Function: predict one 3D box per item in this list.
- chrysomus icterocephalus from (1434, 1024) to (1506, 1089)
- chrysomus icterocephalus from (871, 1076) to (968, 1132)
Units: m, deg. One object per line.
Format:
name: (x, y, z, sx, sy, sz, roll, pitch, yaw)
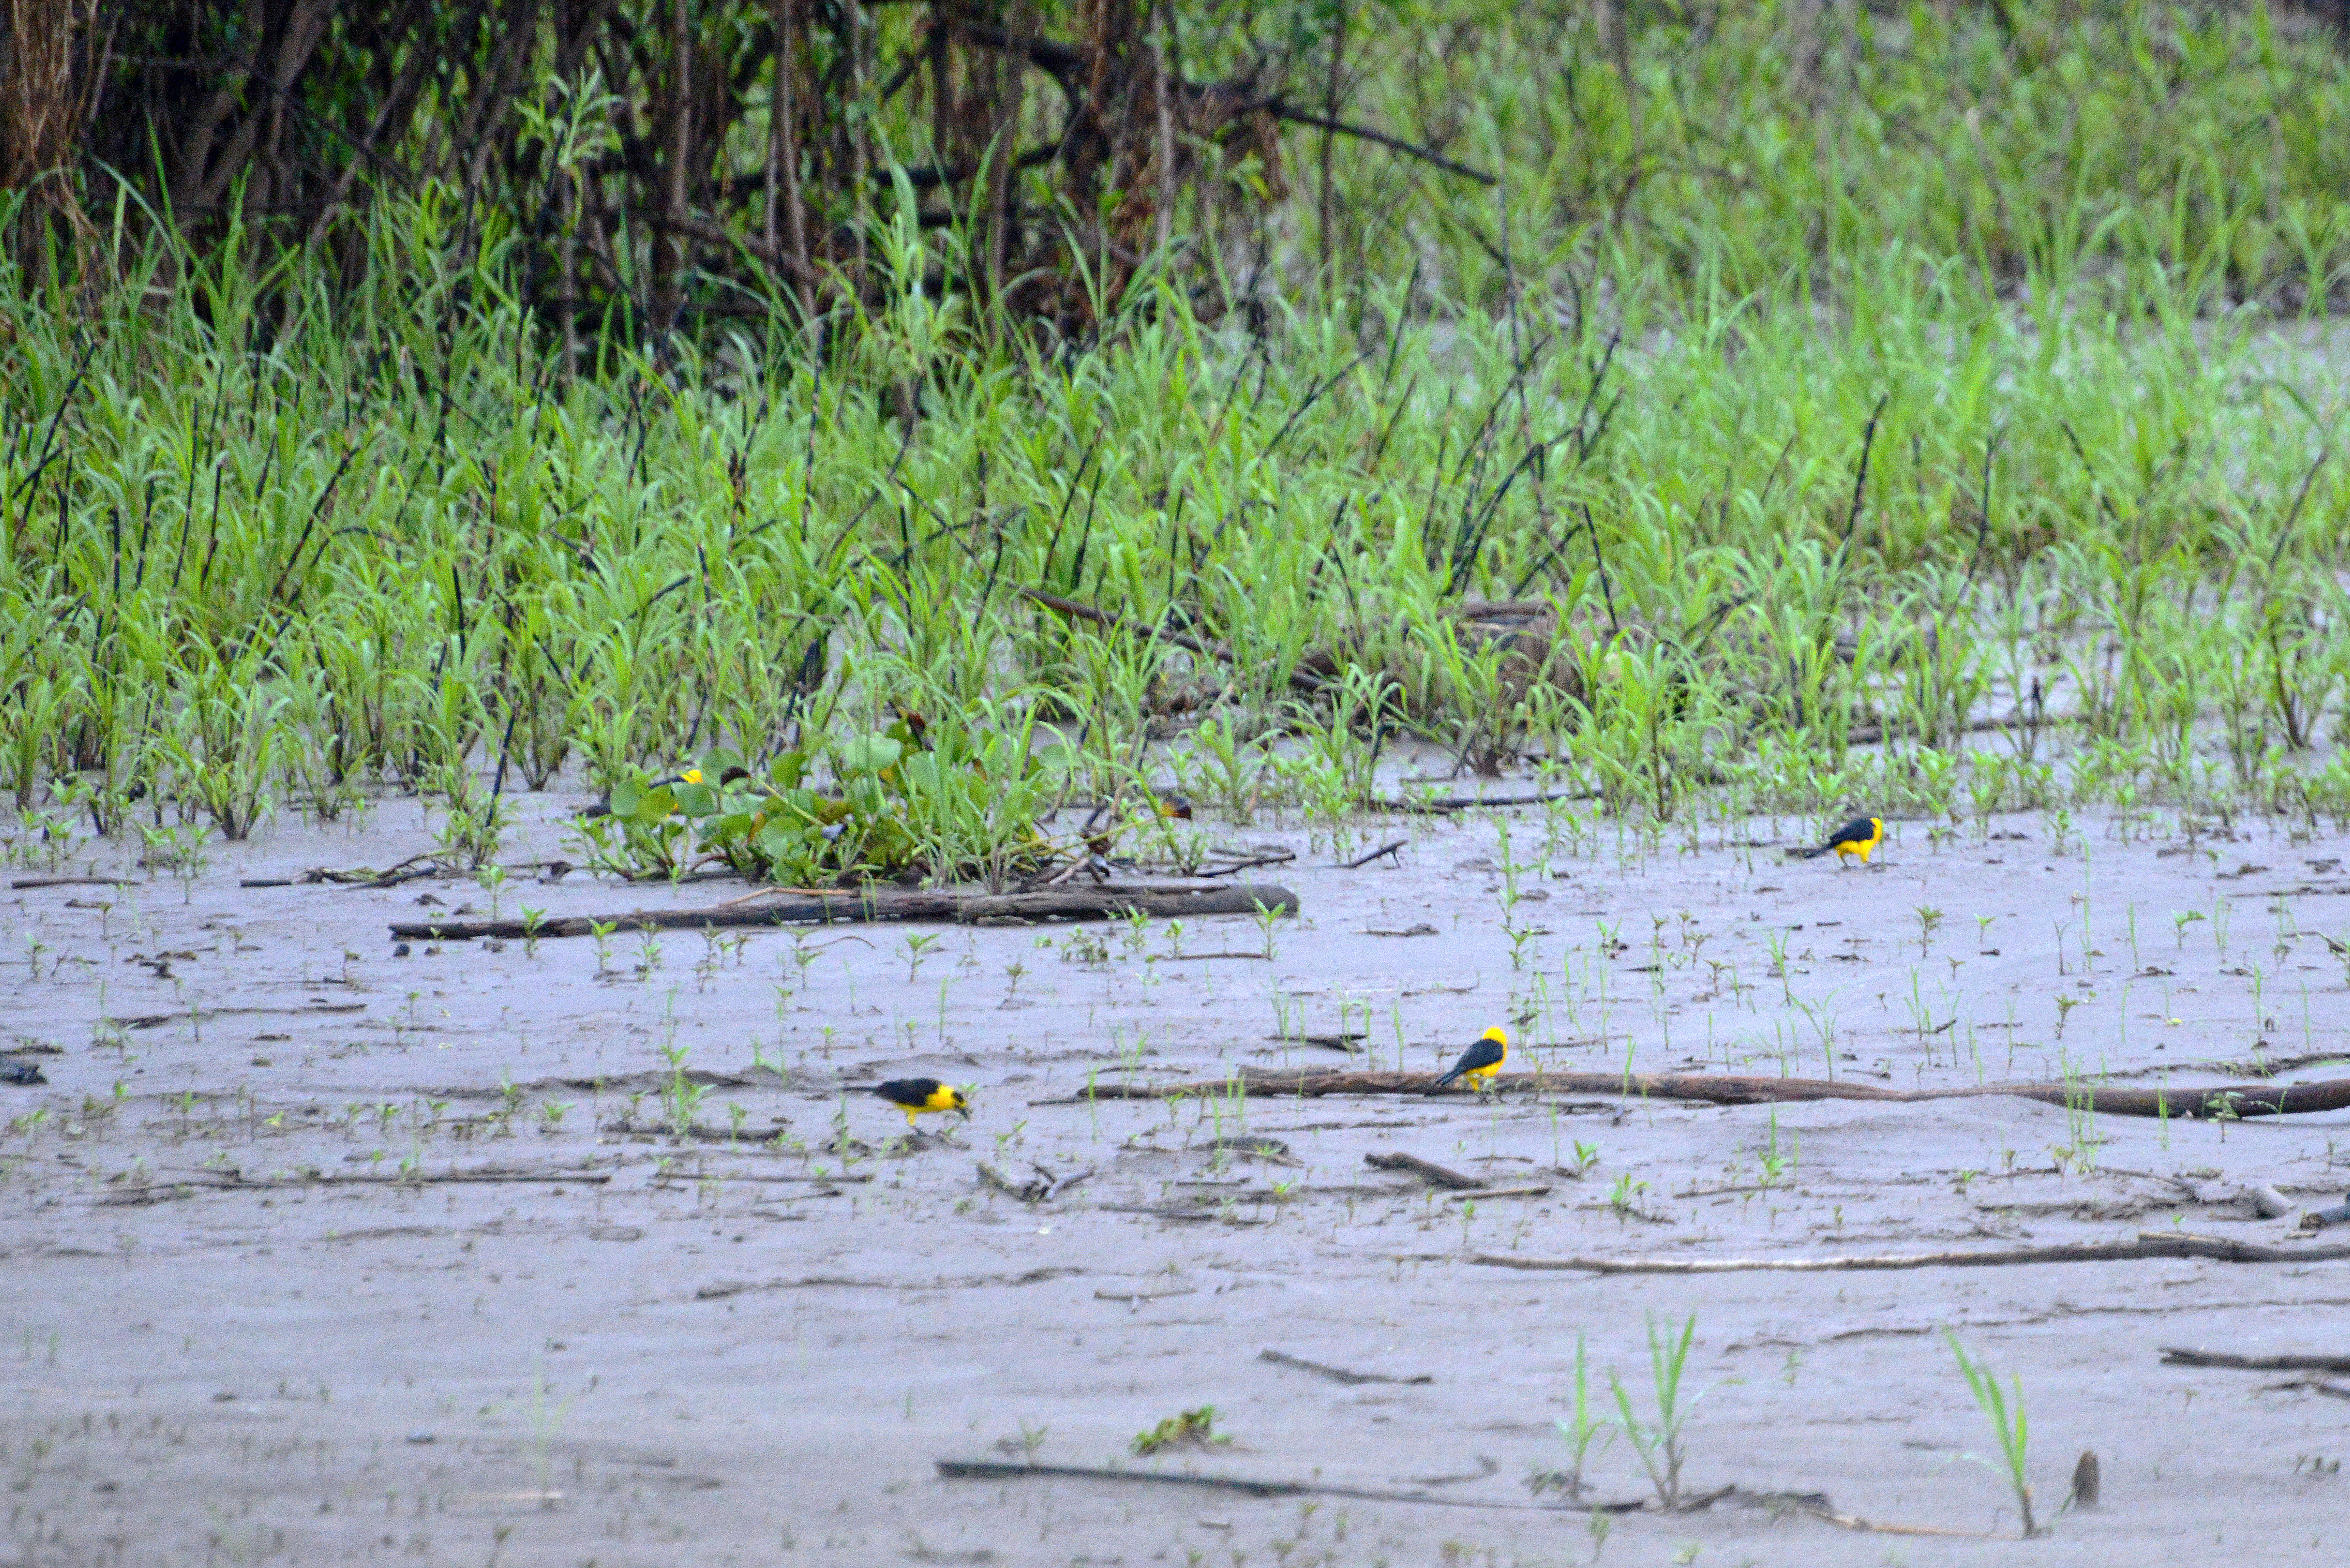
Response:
chrysomus icterocephalus: (0.656, 0.573, 6.837, 0.219, 0.122, 0.117, -2, 6, -40)
chrysomus icterocephalus: (-0.503, 0.626, 6.636, 0.244, 0.104, 0.074, 14, 16, 41)
